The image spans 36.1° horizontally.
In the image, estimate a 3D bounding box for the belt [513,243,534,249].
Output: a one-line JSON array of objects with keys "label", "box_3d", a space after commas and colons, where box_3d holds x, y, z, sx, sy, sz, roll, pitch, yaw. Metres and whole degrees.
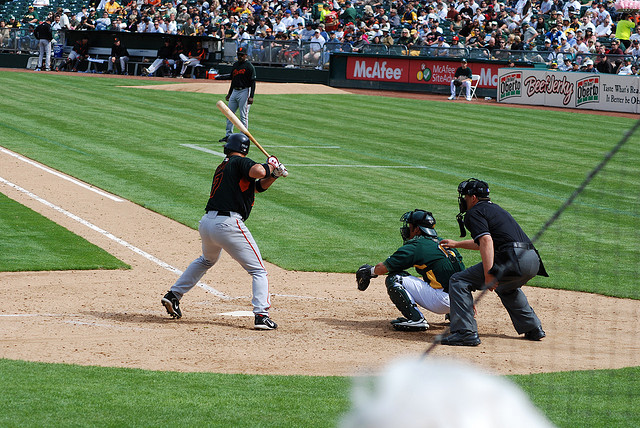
[{"label": "belt", "box_3d": [3.074, 0.465, 14.801, 0.295, 0.054, 0.251, 2, -1, 9]}]

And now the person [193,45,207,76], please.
[{"label": "person", "box_3d": [-5.002, -6.461, 40.784, 0.543, 1.142, 0.394, 6, 5, -7]}]

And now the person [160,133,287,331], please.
[{"label": "person", "box_3d": [-1.394, 0.232, 15.501, 1.789, 3.038, 0.729, 6, 5, -3]}]

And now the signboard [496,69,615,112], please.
[{"label": "signboard", "box_3d": [8.015, -4.279, 33.131, 0.722, 1.421, 4.441, 2, 4, -42]}]

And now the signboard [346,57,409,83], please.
[{"label": "signboard", "box_3d": [2.270, -5.656, 37.908, 2.681, 0.915, 0.270, 6, 4, 30]}]

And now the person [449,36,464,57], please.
[{"label": "person", "box_3d": [5.058, -6.176, 36.007, 0.769, 0.518, 1.017, -2, 43, 6]}]

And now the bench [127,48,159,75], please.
[{"label": "bench", "box_3d": [-7.425, -6.620, 42.047, 1.909, 0.966, 0.705, 9, 2, 33]}]

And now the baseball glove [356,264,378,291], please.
[{"label": "baseball glove", "box_3d": [0.694, 0.984, 15.682, 0.215, 0.465, 0.254, -11, 38, -44]}]

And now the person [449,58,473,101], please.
[{"label": "person", "box_3d": [5.162, -4.909, 34.960, 0.794, 1.570, 1.290, 6, 4, 1]}]

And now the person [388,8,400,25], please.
[{"label": "person", "box_3d": [3.177, -8.460, 41.414, 0.327, 0.694, 0.517, 5, 4, -21]}]

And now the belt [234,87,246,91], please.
[{"label": "belt", "box_3d": [-2.044, -3.265, 25.149, 0.298, 0.089, 0.058, 5, 4, 21]}]

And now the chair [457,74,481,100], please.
[{"label": "chair", "box_3d": [5.454, -4.685, 35.568, 0.721, 0.907, 0.600, 6, 4, 7]}]
